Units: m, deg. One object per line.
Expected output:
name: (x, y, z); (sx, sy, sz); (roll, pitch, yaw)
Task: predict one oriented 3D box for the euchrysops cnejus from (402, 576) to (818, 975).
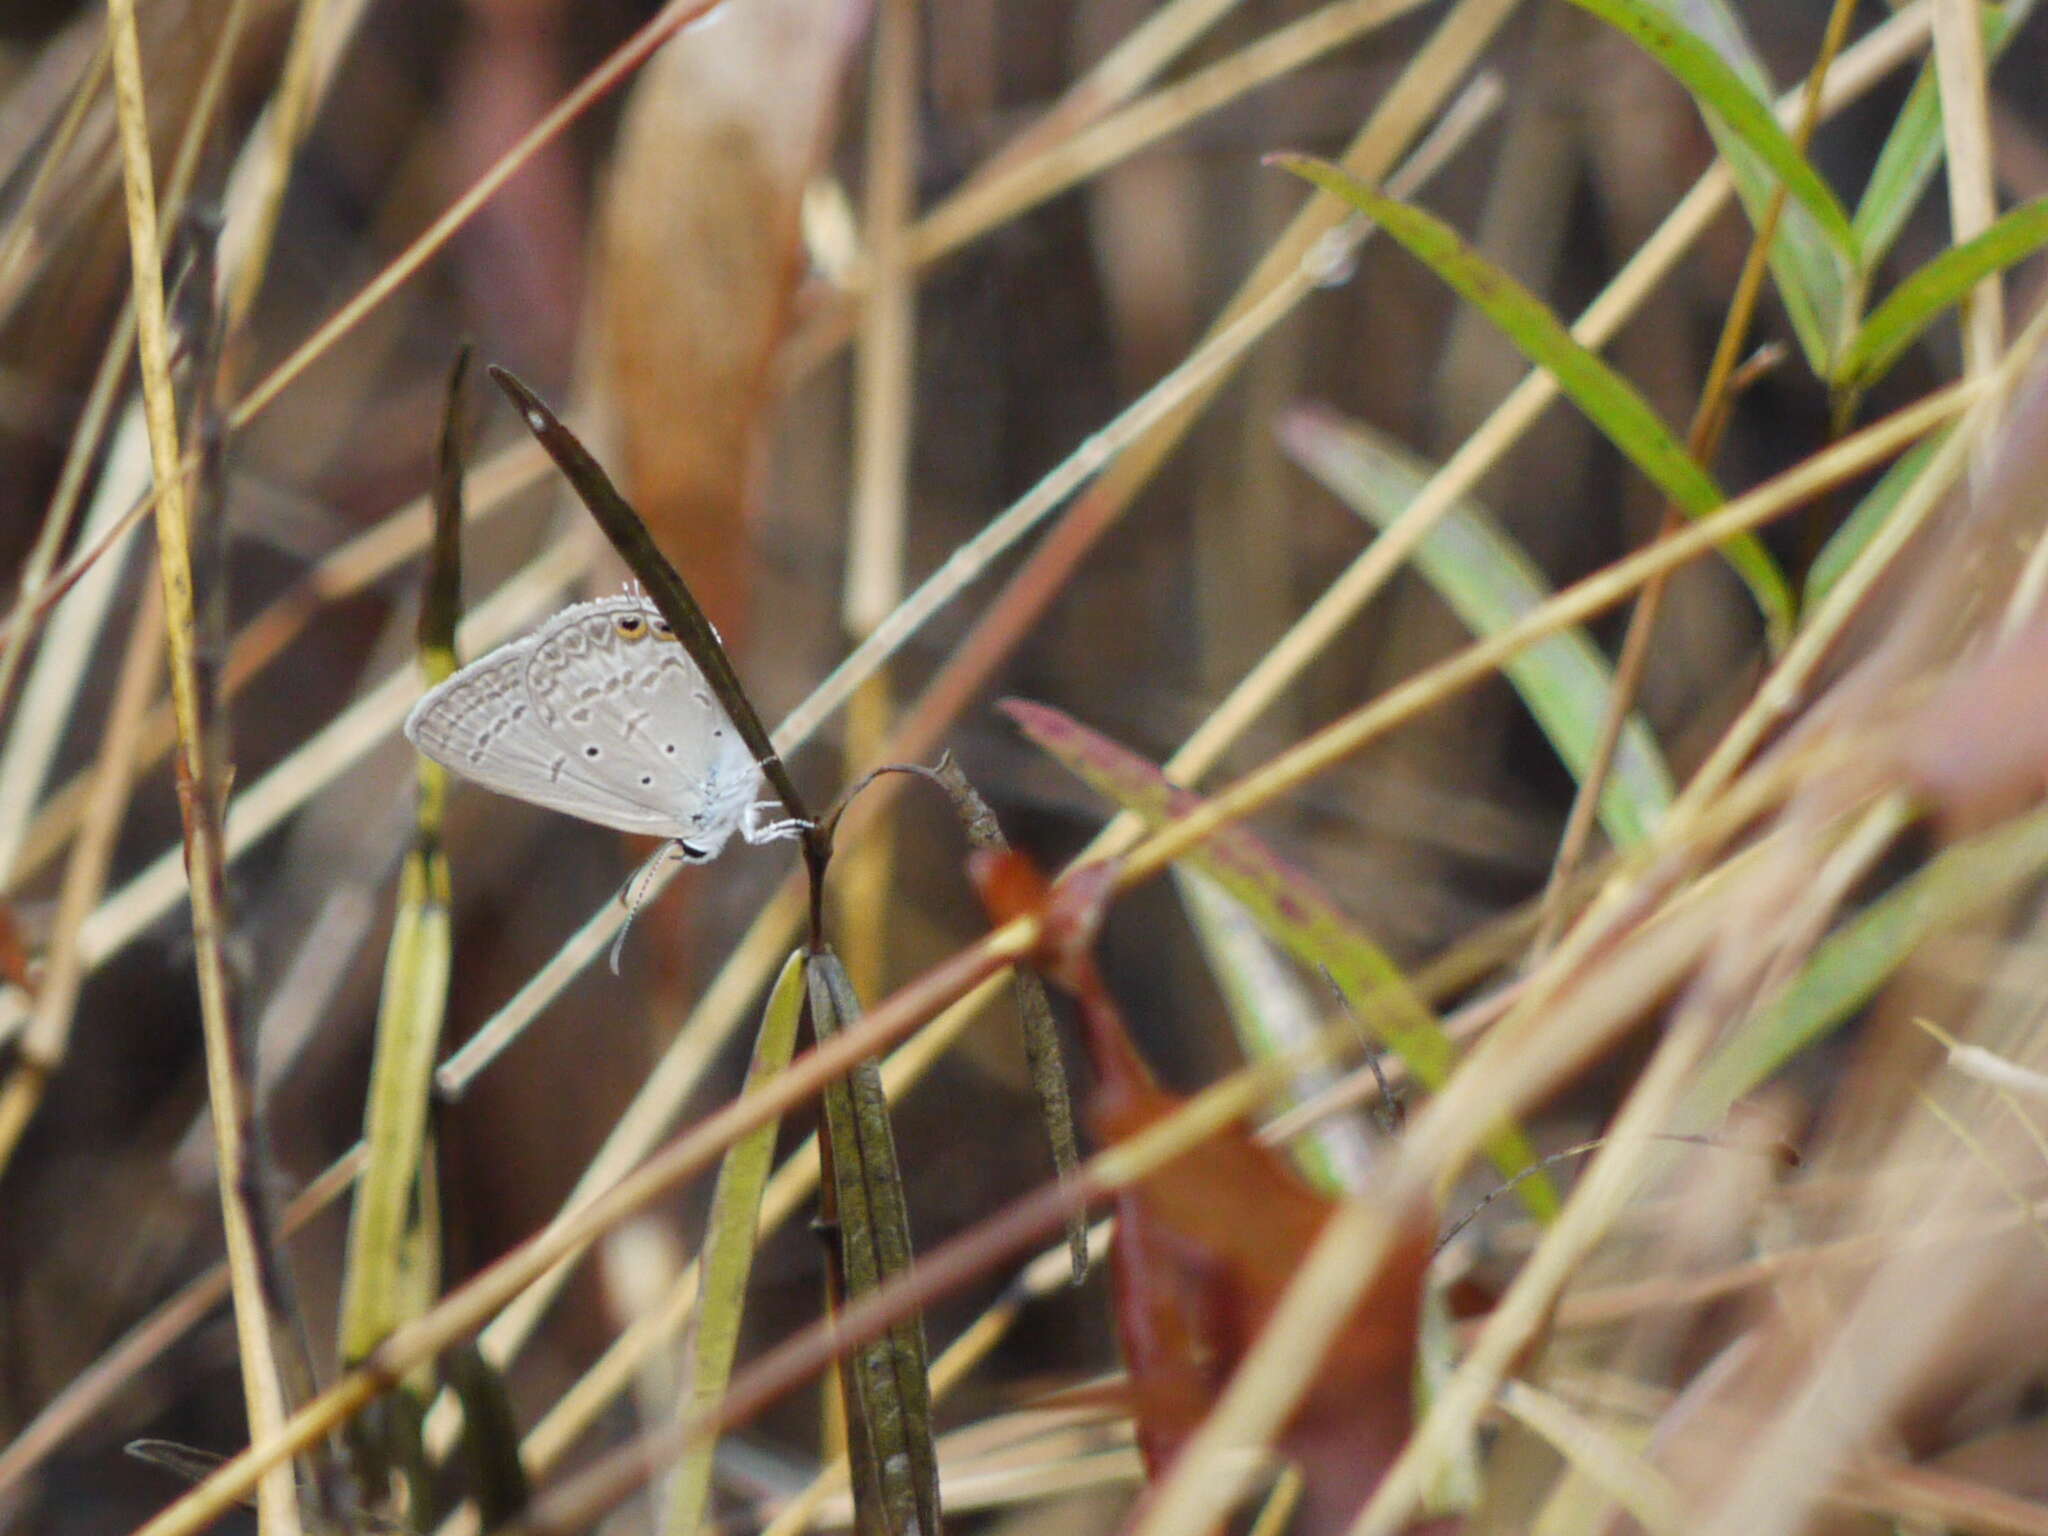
euchrysops cnejus: (-0.178, -0.009, 1.180); (0.105, 0.061, 0.175); (-10, -34, 19)
